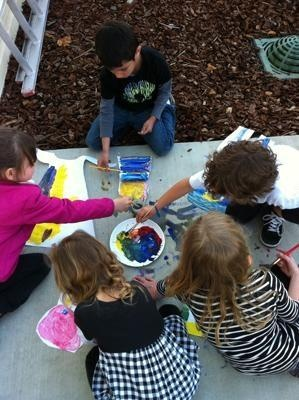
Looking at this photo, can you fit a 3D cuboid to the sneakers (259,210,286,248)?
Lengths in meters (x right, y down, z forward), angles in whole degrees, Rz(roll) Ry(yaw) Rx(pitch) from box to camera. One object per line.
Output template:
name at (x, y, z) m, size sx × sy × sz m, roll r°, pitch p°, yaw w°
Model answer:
sneakers at (0.728, 0.179, 1.910) m, size 0.176 × 0.128 × 0.100 m, roll -25°, pitch 49°, yaw -31°

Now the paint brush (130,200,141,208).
paint brush at (-0.091, 0.025, 2.081) m, size 0.042 × 0.022 × 0.051 m, roll -23°, pitch 88°, yaw 4°

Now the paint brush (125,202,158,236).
paint brush at (-0.053, 0.124, 1.962) m, size 0.028 × 0.243 × 0.026 m, roll 43°, pitch 19°, yaw 17°

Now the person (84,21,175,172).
person at (-0.091, -0.653, 2.038) m, size 0.550 × 0.885 × 0.520 m, roll 3°, pitch 45°, yaw -4°
